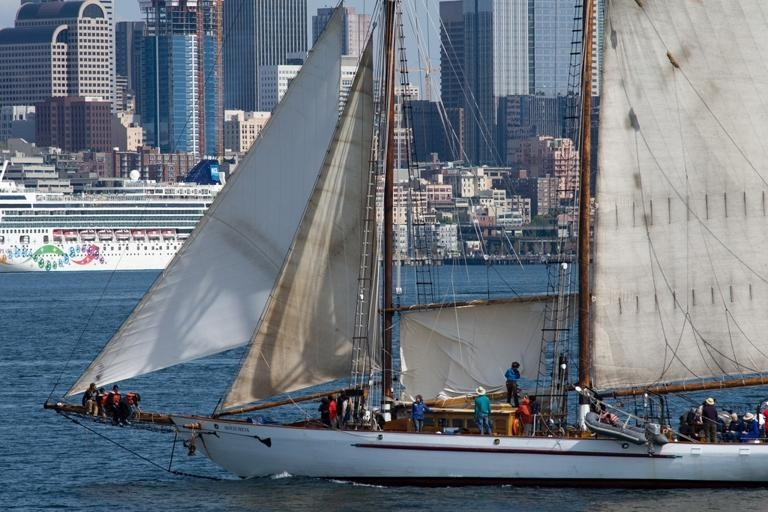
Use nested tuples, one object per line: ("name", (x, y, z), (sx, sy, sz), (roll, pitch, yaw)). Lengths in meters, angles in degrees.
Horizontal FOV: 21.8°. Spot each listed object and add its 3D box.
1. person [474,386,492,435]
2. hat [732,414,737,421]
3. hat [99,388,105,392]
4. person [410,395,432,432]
("person", (3.414, 5.450, 69.730), (0.583, 1.600, 1.262), (0, 0, 4))
("hat", (12.140, 5.674, 69.510), (0.195, 0.237, 0.282), (0, -11, -6))
("hat", (-9.971, 4.779, 70.586), (0.168, 0.110, 0.236), (-2, -13, 7))
("person", (1.179, 5.565, 69.758), (0.578, 1.258, 0.876), (0, 0, 18))
